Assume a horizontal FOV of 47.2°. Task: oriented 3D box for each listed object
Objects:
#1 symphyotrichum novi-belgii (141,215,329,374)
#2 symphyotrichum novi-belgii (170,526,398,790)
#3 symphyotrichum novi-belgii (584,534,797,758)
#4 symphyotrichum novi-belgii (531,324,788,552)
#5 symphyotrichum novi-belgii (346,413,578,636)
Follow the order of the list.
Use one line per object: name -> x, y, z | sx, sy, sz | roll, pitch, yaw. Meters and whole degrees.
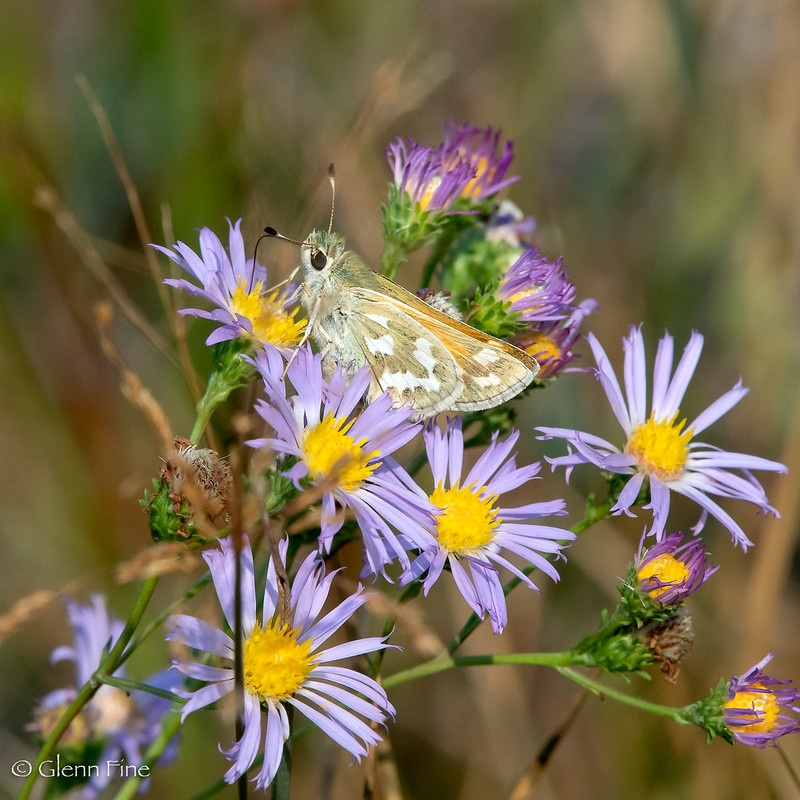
symphyotrichum novi-belgii -> -0.490, -0.296, 2.809 | 0.466, 0.230, 0.415 | 48, 52, 4
symphyotrichum novi-belgii -> -0.298, 0.735, 2.647 | 0.522, 1.126, 0.638 | -16, 76, -5
symphyotrichum novi-belgii -> 0.858, 0.876, 2.906 | 0.663, 0.283, 0.648 | 54, 15, -20
symphyotrichum novi-belgii -> 0.837, 0.214, 3.197 | 0.762, 0.215, 0.858 | -27, 84, -45
symphyotrichum novi-belgii -> 0.225, 0.360, 2.772 | 0.529, 0.192, 0.672 | -12, 77, -38
